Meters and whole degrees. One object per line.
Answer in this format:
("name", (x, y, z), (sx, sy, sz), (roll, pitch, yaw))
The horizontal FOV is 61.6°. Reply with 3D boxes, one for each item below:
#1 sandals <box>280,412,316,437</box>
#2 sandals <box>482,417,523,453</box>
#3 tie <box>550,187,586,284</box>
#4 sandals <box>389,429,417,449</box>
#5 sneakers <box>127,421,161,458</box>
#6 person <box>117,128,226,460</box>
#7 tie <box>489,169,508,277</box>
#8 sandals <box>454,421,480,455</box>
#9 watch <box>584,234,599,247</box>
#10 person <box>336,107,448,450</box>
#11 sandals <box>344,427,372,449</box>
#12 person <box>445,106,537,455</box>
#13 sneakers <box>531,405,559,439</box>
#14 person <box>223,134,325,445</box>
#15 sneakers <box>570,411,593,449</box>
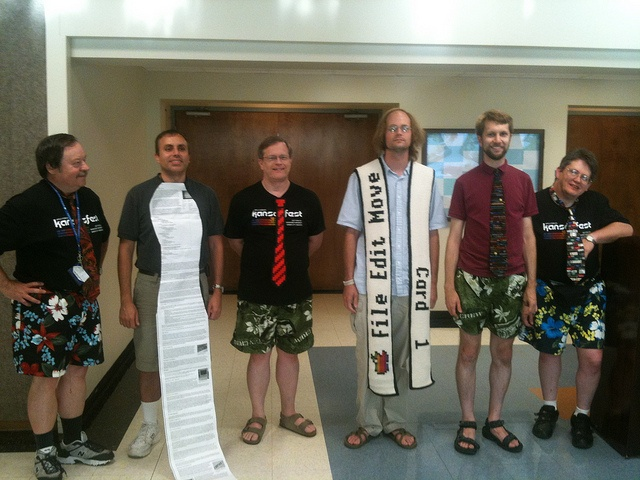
("sandals", (-0.158, 1.308, 3.847), (0.275, 0.106, 0.107), (6, 10, 33))
("sandals", (1.216, 1.312, 3.699), (0.116, 0.139, 0.329), (-16, 14, -29))
("tie", (1.736, 0.035, 3.661), (0.127, 0.490, 0.190), (3, 11, 19))
("sandals", (0.574, 1.343, 3.651), (0.085, 0.060, 0.165), (-8, 7, -33))
("sneakers", (-1.169, 1.336, 3.568), (0.102, 0.123, 0.275), (2, -3, -1))
("person", (-0.993, 0.340, 3.611), (0.715, 2.105, 0.419), (-4, 11, -19))
("tie", (1.173, -0.114, 3.527), (0.122, 0.680, 0.170), (2, 11, 15))
("sandals", (0.972, 1.322, 3.539), (0.100, 0.109, 0.284), (0, -6, 8))
("watch", (1.835, 0.007, 3.648), (0.025, 0.080, 0.058), (-44, 13, -36))
("person", (0.486, 0.269, 3.595), (0.727, 2.231, 0.414), (-1, 11, 0))
("sandals", (0.257, 1.344, 3.658), (0.087, 0.073, 0.194), (2, 0, 45))
("person", (1.125, 0.284, 3.563), (0.591, 2.232, 0.538), (4, 12, 21))
("sneakers", (1.580, 1.279, 3.766), (0.109, 0.121, 0.293), (1, 2, 30))
("person", (-0.317, 0.332, 3.734), (0.693, 2.047, 0.398), (-1, 11, -1))
("sneakers", (1.792, 1.297, 3.704), (0.112, 0.120, 0.274), (-1, 19, 12))
